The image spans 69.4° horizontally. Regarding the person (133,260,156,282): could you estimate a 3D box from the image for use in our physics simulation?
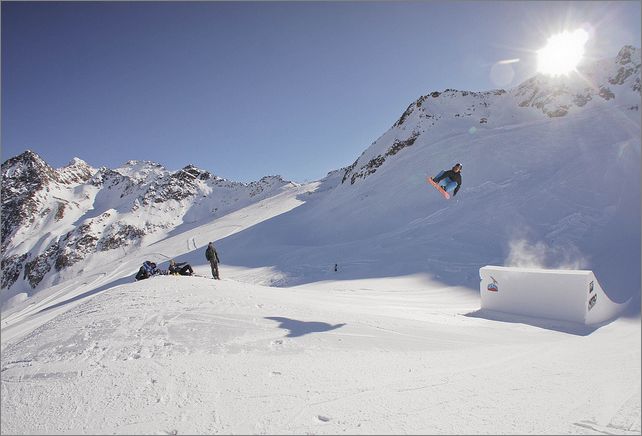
[{"bbox_3d":[-12.094,3.634,31.668,1.205,0.966,2.331,-11,11,-13],"label":"person"}]
